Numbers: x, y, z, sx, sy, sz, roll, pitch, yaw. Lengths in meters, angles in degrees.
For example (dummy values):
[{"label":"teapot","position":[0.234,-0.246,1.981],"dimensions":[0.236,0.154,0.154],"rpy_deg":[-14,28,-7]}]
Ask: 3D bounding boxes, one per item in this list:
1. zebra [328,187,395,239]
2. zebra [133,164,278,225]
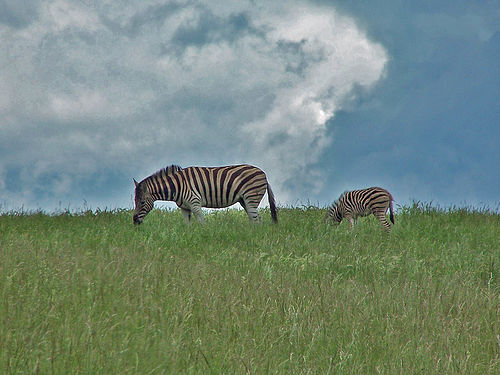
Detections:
[{"label":"zebra","position":[2.759,0.514,18.925],"dimensions":[0.572,1.251,2.247],"rpy_deg":[-3,13,-27]},{"label":"zebra","position":[-1.044,0.150,17.532],"dimensions":[2.953,1.876,0.829],"rpy_deg":[2,-11,-13]}]
